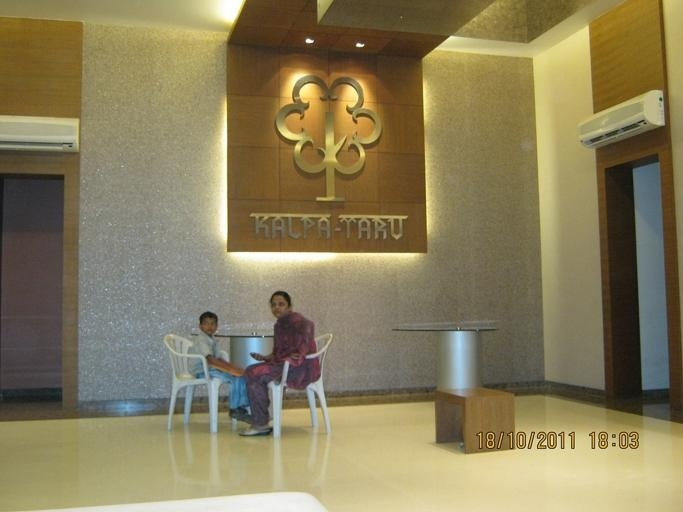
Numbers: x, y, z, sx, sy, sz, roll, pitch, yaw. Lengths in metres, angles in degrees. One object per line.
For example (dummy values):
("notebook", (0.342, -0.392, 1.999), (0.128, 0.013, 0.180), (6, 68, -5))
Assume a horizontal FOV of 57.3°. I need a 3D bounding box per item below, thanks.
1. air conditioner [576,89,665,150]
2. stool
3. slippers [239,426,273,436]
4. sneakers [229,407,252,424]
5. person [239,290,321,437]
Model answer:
("air conditioner", (3.612, -1.759, 8.216), (0.329, 0.458, 1.317), (-4, -1, -15))
("stool", (1.340, 1.650, 6.319), (0.563, 0.498, 0.721), (2, -9, -12))
("slippers", (-0.910, 1.848, 6.640), (0.342, 0.131, 0.123), (3, -12, -8))
("sneakers", (-1.091, 1.753, 6.843), (0.330, 0.140, 0.121), (-8, -14, 44))
("person", (-0.658, 1.145, 6.793), (0.868, 1.501, 0.438), (0, 1, -3))
